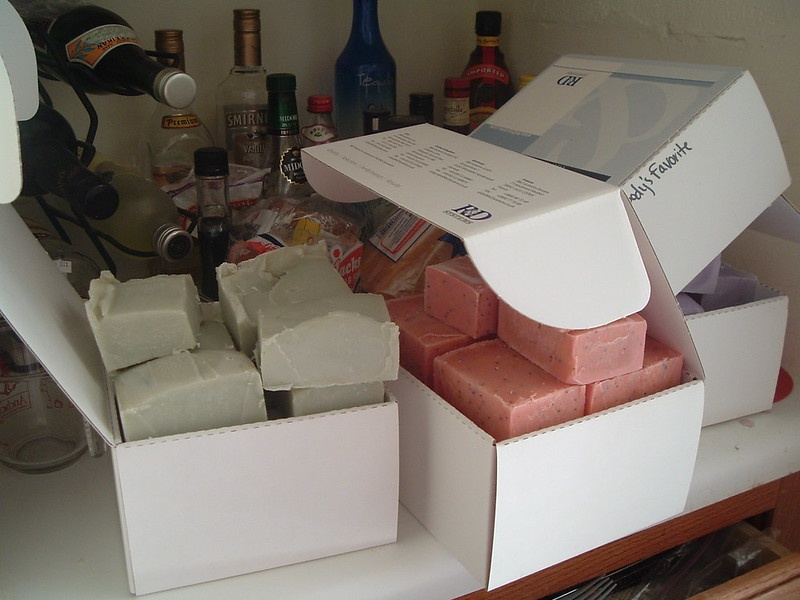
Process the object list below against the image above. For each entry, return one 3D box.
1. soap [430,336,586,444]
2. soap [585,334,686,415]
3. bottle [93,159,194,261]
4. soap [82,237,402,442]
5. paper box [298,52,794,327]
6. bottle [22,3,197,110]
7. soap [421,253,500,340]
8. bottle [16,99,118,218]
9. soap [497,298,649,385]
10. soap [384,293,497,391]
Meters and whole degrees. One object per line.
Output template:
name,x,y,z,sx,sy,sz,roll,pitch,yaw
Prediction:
soap,0.142,0.085,0.697,0.083,0.050,0.111,-14,34,12
soap,0.258,0.094,0.679,0.080,0.022,0.078,-14,39,-7
bottle,-0.392,-0.111,0.922,0.058,0.140,0.061,-18,-1,0
soap,-0.150,0.043,0.649,0.206,0.075,0.212,-6,36,-18
paper box,0.203,-0.137,0.714,0.414,0.154,0.414,-28,39,-21
bottle,-0.357,-0.324,0.855,0.258,0.120,0.141,16,31,29
soap,0.093,-0.003,0.772,0.088,0.064,0.088,-14,22,-23
bottle,-0.438,-0.182,0.855,0.113,0.118,0.183,6,19,-38
soap,0.186,0.028,0.725,0.111,0.069,0.142,-12,25,-27
soap,0.039,0.044,0.793,0.094,0.064,0.093,-19,41,-28
